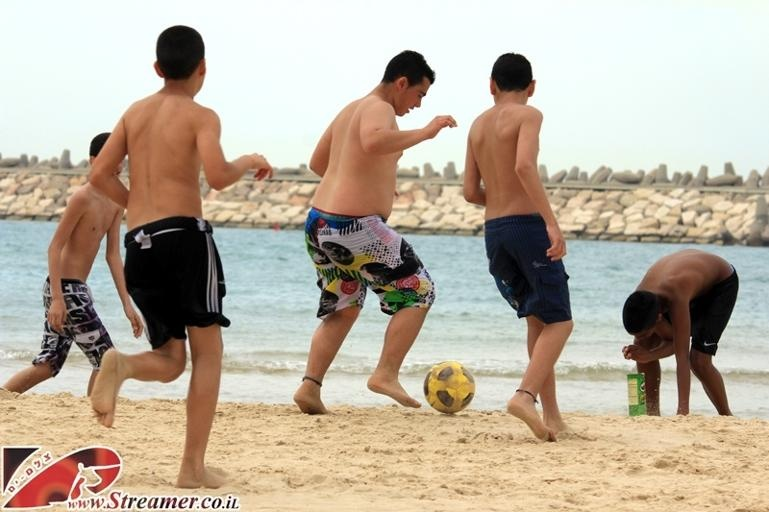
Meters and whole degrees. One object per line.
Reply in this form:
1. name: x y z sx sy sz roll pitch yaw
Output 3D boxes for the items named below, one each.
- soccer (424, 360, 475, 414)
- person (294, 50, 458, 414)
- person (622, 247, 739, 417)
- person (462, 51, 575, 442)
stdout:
1. soccer: 0.595 1.182 9.837 0.524 0.506 0.476 7 -9 -17
2. person: -0.148 -0.152 9.176 1.143 3.140 0.988 4 7 7
3. person: 2.705 0.741 10.026 0.788 1.566 1.174 8 9 36
4. person: 1.082 -0.083 8.771 0.957 3.075 0.928 4 7 3
